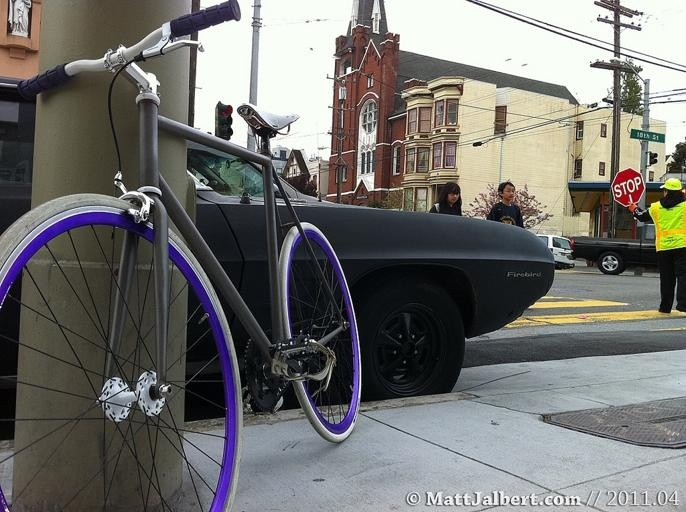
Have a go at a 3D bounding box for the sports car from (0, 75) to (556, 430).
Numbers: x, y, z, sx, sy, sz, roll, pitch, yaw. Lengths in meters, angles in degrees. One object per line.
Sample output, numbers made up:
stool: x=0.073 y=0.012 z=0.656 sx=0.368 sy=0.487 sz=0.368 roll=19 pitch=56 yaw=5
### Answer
sports car: x=-0.314 y=-0.083 z=4.330 sx=2.943 sy=1.181 sz=1.663 roll=-3 pitch=0 yaw=-25

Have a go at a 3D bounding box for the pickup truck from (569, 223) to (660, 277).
pickup truck: x=9.218 y=-0.230 z=22.318 sx=2.613 sy=1.109 sz=1.434 roll=-3 pitch=0 yaw=28
